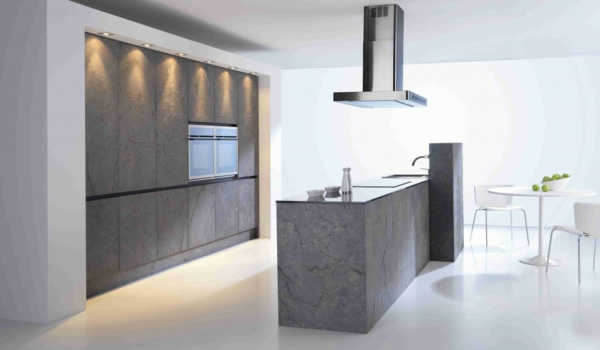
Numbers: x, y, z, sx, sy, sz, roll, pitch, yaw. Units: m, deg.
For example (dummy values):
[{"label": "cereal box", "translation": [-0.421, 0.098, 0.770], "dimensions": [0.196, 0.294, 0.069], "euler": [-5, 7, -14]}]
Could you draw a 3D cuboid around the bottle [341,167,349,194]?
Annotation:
[{"label": "bottle", "translation": [0.603, 0.074, 5.111], "dimensions": [0.126, 0.300, 0.386], "euler": [-1, 9, 6]}]

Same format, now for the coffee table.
[{"label": "coffee table", "translation": [3.899, 0.764, 6.484], "dimensions": [1.704, 1.029, 1.561], "euler": [-1, 1, -12]}]

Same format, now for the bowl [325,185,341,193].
[{"label": "bowl", "translation": [0.431, 0.191, 5.086], "dimensions": [0.203, 0.074, 0.275], "euler": [0, 8, 5]}]

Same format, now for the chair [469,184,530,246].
[{"label": "chair", "translation": [3.771, 0.723, 7.312], "dimensions": [0.980, 0.944, 0.849], "euler": [2, 0, 18]}]

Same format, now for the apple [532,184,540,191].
[{"label": "apple", "translation": [3.839, 0.207, 6.321], "dimensions": [0.115, 0.076, 0.105], "euler": [-1, 2, -34]}]

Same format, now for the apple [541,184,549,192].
[{"label": "apple", "translation": [3.861, 0.211, 6.117], "dimensions": [0.084, 0.107, 0.156], "euler": [4, 10, 31]}]

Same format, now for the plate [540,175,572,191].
[{"label": "plate", "translation": [4.067, 0.121, 6.205], "dimensions": [0.385, 0.154, 0.352], "euler": [-2, -4, -5]}]
